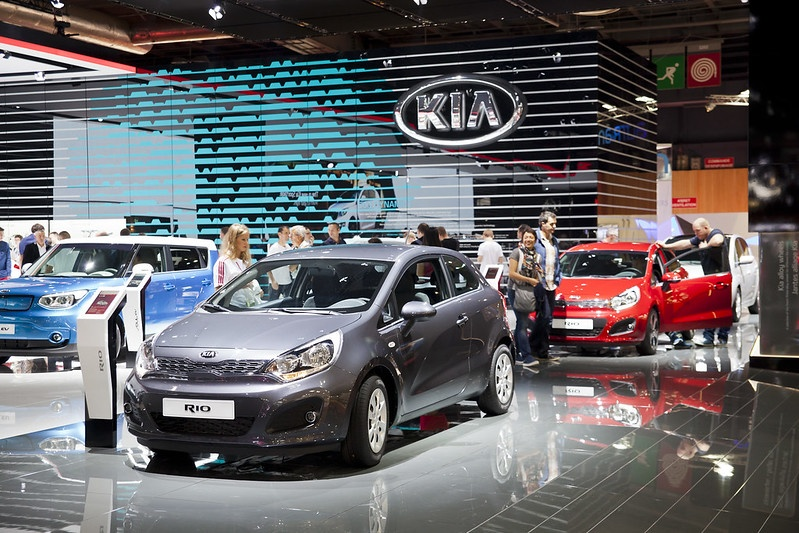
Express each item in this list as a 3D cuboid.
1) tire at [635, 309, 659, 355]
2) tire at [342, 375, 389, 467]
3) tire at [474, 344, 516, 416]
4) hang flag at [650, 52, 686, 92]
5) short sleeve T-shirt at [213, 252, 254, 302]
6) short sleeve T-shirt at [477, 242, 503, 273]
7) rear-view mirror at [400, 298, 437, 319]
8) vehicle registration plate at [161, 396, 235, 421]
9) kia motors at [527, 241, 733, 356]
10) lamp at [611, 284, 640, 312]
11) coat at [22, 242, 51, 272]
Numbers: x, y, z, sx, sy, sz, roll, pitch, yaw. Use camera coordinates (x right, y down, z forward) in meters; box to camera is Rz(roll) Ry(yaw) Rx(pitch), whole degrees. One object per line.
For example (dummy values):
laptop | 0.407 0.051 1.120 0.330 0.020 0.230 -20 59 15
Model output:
tire | 3.841 0.983 9.780 0.253 0.708 0.755 5 6 32
tire | -0.297 1.229 5.028 0.258 0.732 0.773 1 6 18
tire | 0.981 1.175 6.571 0.209 0.599 0.614 -2 -35 24
hang flag | 8.648 -6.239 19.992 0.925 1.165 0.728 1 3 20
short sleeve T-shirt | -1.782 0.110 6.687 0.290 0.505 0.534 -3 -2 28
short sleeve T-shirt | 1.876 -0.197 13.117 0.685 0.838 0.366 1 12 1
rear-view mirror | 0.156 0.368 5.491 0.209 0.088 0.176 -1 11 -2
vehicle registration plate | -1.522 1.070 4.767 0.295 0.071 0.260 1 -2 7
kia motors | 4.229 0.307 10.887 2.921 1.416 3.632 1 8 30
lamp | 3.456 0.486 9.552 0.523 0.333 0.179 -2 3 -29
coat | -6.444 -0.165 11.080 0.608 0.547 0.313 1 -7 -11
